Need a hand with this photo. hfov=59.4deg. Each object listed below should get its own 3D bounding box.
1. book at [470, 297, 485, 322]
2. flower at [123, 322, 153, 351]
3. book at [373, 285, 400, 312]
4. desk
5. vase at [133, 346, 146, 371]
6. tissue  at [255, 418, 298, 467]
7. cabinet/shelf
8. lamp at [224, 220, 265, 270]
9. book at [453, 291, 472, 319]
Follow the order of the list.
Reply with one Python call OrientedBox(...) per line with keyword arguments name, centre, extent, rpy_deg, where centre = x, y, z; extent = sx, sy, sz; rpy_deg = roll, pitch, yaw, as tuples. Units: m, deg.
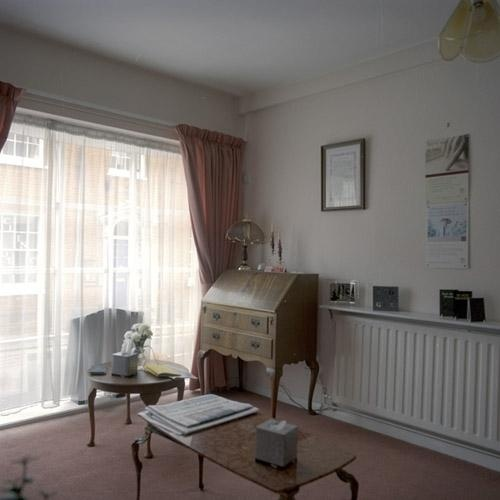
OrientedBox(name="book", centre=(1.351, 0.362, 2.616), extent=(0.104, 0.164, 0.011), rpy_deg=(4, -10, -18))
OrientedBox(name="flower", centre=(-0.749, 0.578, 2.939), extent=(0.168, 0.221, 0.157), rpy_deg=(1, 4, -13))
OrientedBox(name="book", centre=(0.955, 0.342, 3.062), extent=(0.144, 0.166, 0.052), rpy_deg=(-1, -5, 34))
OrientedBox(name="desk", centre=(-0.737, 1.007, 2.835), extent=(0.552, 0.508, 0.577), rpy_deg=(4, 1, 35))
OrientedBox(name="vase", centre=(-0.724, 0.708, 2.884), extent=(0.096, 0.195, 0.118), rpy_deg=(1, -3, -14))
OrientedBox(name="tissue ", centre=(0.093, 0.701, 1.696), extent=(0.141, 0.158, 0.142), rpy_deg=(3, 4, 44))
OrientedBox(name="cabinet/shelf", centre=(-0.029, 0.529, 3.933), extent=(0.899, 1.695, 1.158), rpy_deg=(3, -3, -43))
OrientedBox(name="lamp", centre=(-0.023, -0.020, 3.979), extent=(0.367, 0.534, 0.391), rpy_deg=(-1, -2, 29))
OrientedBox(name="book", centre=(1.301, 0.342, 2.683), extent=(0.124, 0.264, 0.032), rpy_deg=(2, -9, 15))
